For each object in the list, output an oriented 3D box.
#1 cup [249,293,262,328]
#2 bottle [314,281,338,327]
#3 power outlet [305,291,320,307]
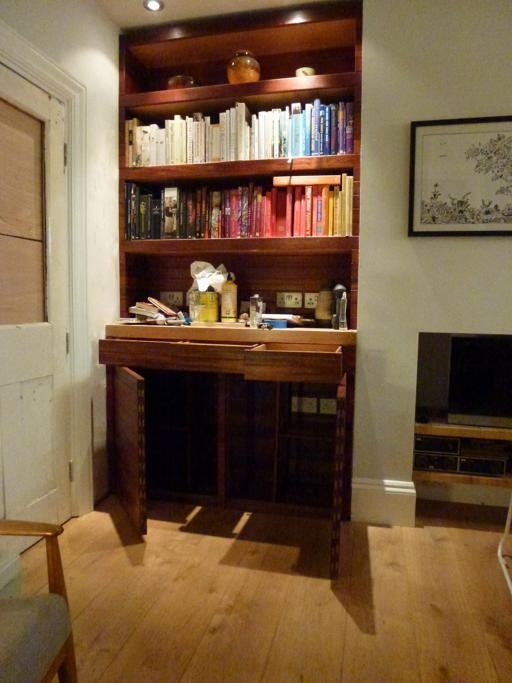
[{"bbox_3d":[-0.002,-0.137,2.474,0.057,0.141,0.099,0,7,-2],"label":"cup"},{"bbox_3d":[0.317,-0.171,2.543,0.086,0.198,0.293,1,8,8],"label":"bottle"},{"bbox_3d":[0.275,-0.206,2.669,0.072,0.099,0.012,1,-3,25],"label":"power outlet"}]
